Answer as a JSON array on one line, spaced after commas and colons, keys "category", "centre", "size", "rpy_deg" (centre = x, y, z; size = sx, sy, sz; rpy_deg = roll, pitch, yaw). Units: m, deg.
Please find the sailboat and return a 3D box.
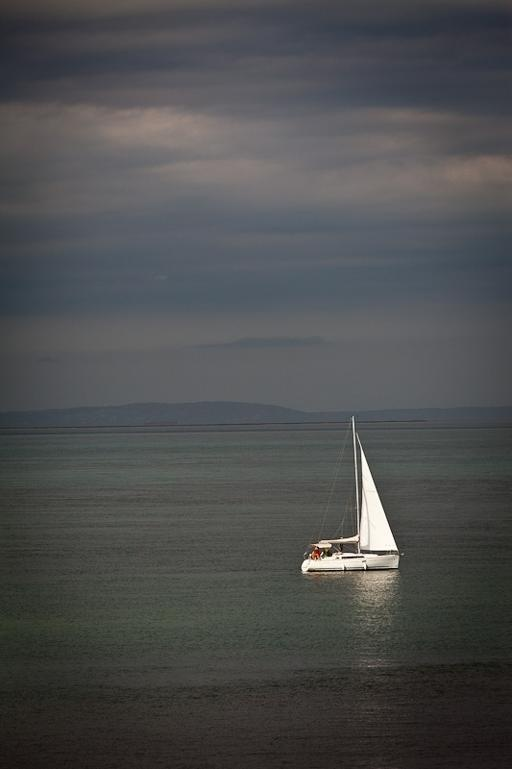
[{"category": "sailboat", "centre": [0.831, 0.961, 12.467], "size": [0.873, 0.311, 1.522], "rpy_deg": [2, -60, 1]}]
